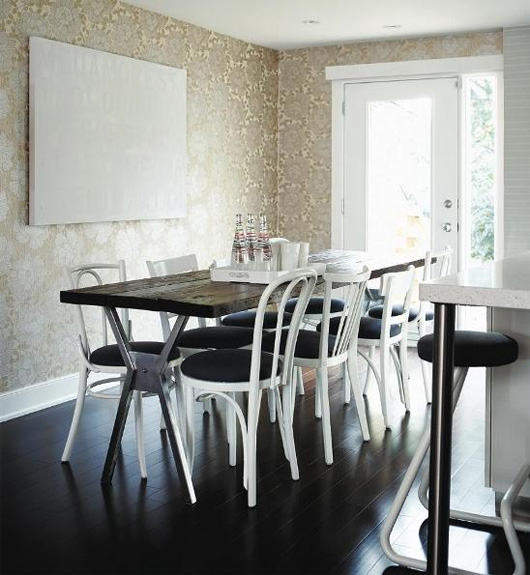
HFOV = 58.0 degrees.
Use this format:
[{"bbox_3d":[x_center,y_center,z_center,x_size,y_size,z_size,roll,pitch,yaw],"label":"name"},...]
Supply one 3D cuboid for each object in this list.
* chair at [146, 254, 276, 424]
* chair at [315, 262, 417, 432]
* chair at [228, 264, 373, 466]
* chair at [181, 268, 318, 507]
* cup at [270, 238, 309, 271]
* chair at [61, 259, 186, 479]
[{"bbox_3d":[-0.467,0.291,2.766,0.574,1.077,0.523,-16,1,40],"label":"chair"},{"bbox_3d":[0.633,0.323,2.918,0.423,0.888,0.490,-8,9,-38],"label":"chair"},{"bbox_3d":[0.241,0.316,2.448,0.470,0.927,0.448,7,18,20],"label":"chair"},{"bbox_3d":[-0.070,0.370,1.983,0.500,0.950,0.438,4,5,17],"label":"chair"},{"bbox_3d":[0.109,-0.180,2.501,0.165,0.193,0.131,-2,5,-22],"label":"cup"},{"bbox_3d":[-0.614,0.363,2.283,0.502,1.119,0.538,-12,7,-1],"label":"chair"}]
